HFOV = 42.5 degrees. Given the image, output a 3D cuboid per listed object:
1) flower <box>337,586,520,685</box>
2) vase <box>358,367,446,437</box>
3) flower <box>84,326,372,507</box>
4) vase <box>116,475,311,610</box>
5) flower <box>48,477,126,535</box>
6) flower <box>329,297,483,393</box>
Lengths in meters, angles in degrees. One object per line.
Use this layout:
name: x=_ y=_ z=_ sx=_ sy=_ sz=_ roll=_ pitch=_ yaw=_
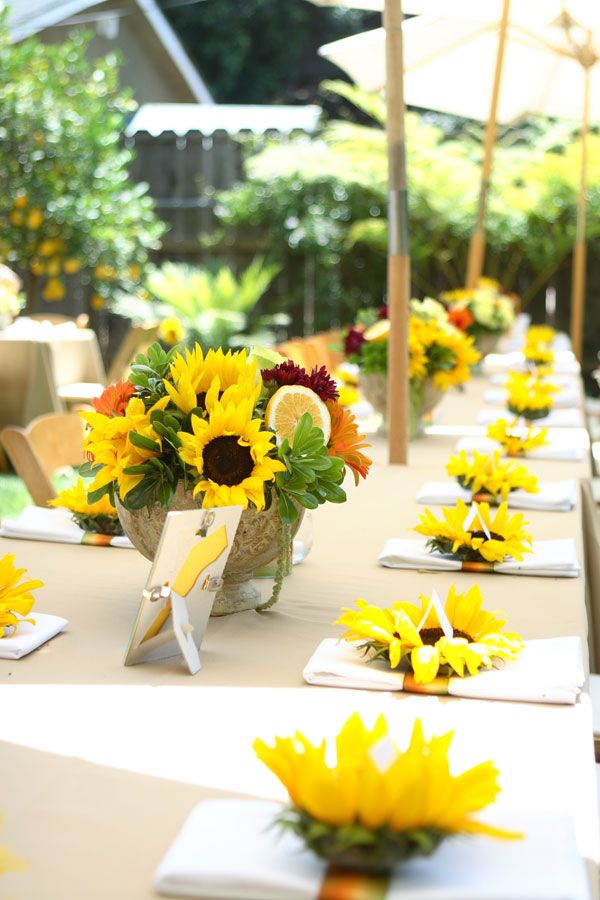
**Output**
flower: x=0.158 y=0.208 z=0.886 sx=0.195 sy=0.068 sz=0.204 roll=0 pitch=0 yaw=-36
vase: x=0.370 y=-0.182 z=2.736 sx=0.254 sy=0.246 sz=0.251 roll=6 pitch=9 yaw=43
flower: x=-0.085 y=-0.030 z=0.984 sx=0.303 sy=0.226 sz=0.255 roll=0 pitch=10 yaw=-9
vase: x=-0.129 y=0.149 z=1.147 sx=0.269 sy=0.190 sz=0.263 roll=-11 pitch=-4 yaw=2
flower: x=-0.384 y=0.111 z=1.408 sx=0.155 sy=0.083 sz=0.148 roll=0 pitch=23 yaw=-27
flower: x=0.358 y=-0.317 z=2.598 sx=0.387 sy=0.256 sz=0.371 roll=4 pitch=10 yaw=-9
